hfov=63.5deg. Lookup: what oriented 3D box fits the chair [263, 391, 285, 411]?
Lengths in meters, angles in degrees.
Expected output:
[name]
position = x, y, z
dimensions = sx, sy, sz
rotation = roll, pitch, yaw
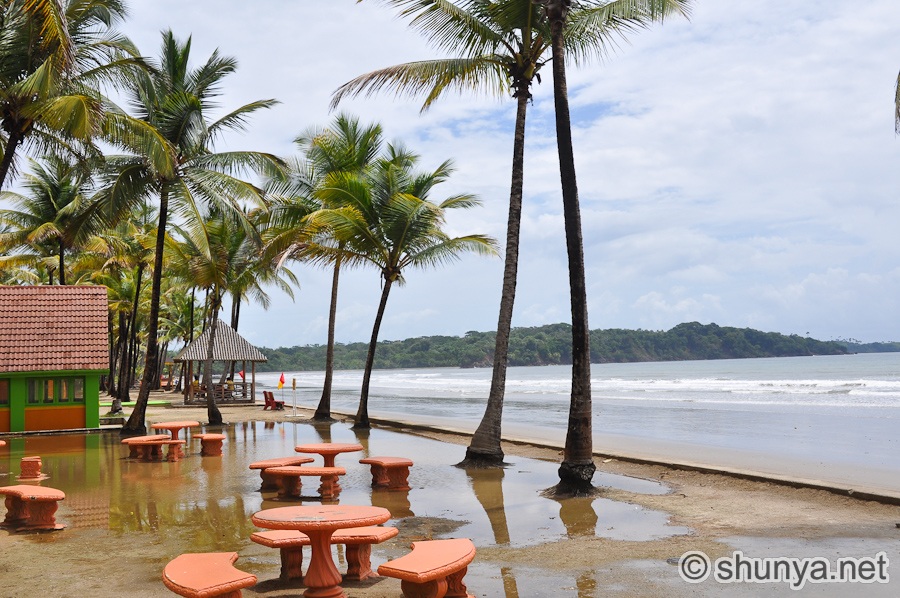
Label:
[chair]
position = -8.058, 4.685, 33.236
dimensions = 1.227, 1.056, 0.953
rotation = 0, -5, 9
